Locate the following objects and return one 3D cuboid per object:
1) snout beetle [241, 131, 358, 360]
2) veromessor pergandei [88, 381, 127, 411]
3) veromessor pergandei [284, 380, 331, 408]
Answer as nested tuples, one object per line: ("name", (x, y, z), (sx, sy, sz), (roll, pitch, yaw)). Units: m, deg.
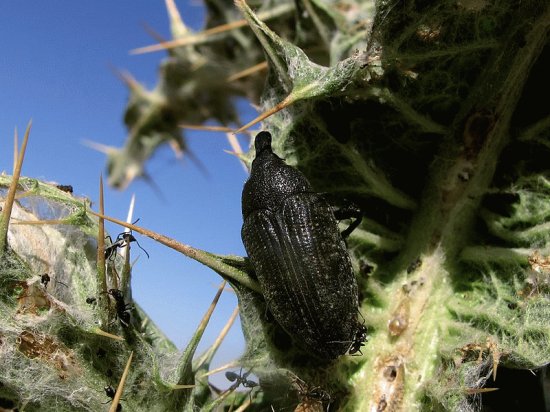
("snout beetle", (0.210, 0.298, 5.467), (0.941, 1.625, 0.558), (15, -43, -17))
("veromessor pergandei", (-1.204, 1.365, 4.927), (0.184, 0.060, 0.212), (-11, -77, -13))
("veromessor pergandei", (0.270, 1.386, 5.126), (0.291, 0.161, 0.172), (-3, -42, 1))
